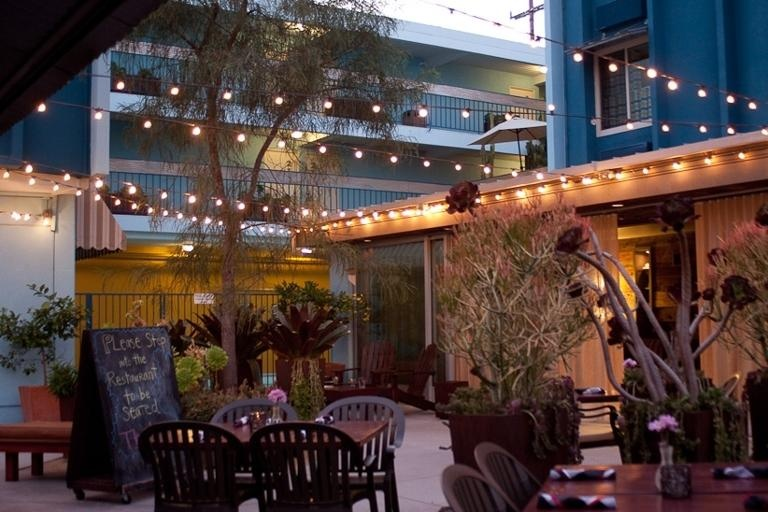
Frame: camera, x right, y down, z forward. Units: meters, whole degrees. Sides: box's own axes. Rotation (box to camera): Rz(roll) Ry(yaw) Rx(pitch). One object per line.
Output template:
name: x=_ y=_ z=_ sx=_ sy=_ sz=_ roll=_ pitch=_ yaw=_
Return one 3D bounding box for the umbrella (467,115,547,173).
umbrella: x=2.705 y=-2.235 z=15.136 sx=1.354 sy=1.050 sz=1.362 roll=-1 pitch=15 yaw=46

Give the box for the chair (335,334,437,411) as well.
chair: x=0.005 y=1.878 z=12.199 sx=1.046 sy=1.088 sz=1.497 roll=-6 pitch=-8 yaw=31

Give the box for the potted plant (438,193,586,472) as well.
potted plant: x=1.185 y=0.734 z=6.965 sx=1.342 sy=2.540 sz=0.759 roll=-3 pitch=-6 yaw=6

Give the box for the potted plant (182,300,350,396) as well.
potted plant: x=-1.697 y=1.920 z=11.993 sx=2.549 sy=1.634 sz=1.258 roll=0 pitch=-2 yaw=3
